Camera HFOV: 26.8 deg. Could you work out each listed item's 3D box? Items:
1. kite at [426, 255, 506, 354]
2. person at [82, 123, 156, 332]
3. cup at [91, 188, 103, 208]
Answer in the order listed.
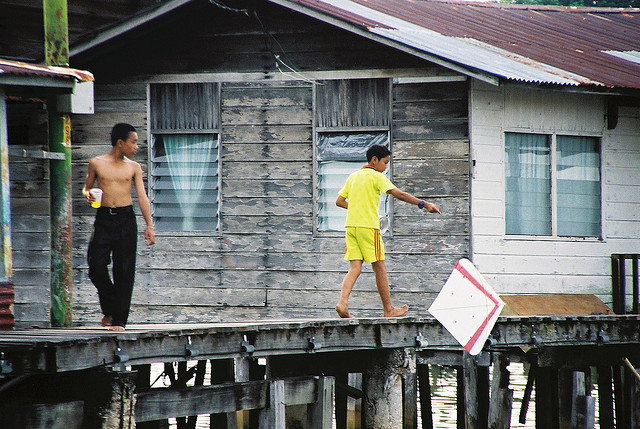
[{"bbox_3d":[2.024,1.290,18.721,0.991,1.296,0.176,1,2,5],"label":"kite"},{"bbox_3d":[-2.754,0.151,18.196,0.906,2.721,0.509,1,2,-9],"label":"person"},{"bbox_3d":[-2.999,-0.204,17.998,0.241,0.259,0.217,2,-5,-16],"label":"cup"}]
